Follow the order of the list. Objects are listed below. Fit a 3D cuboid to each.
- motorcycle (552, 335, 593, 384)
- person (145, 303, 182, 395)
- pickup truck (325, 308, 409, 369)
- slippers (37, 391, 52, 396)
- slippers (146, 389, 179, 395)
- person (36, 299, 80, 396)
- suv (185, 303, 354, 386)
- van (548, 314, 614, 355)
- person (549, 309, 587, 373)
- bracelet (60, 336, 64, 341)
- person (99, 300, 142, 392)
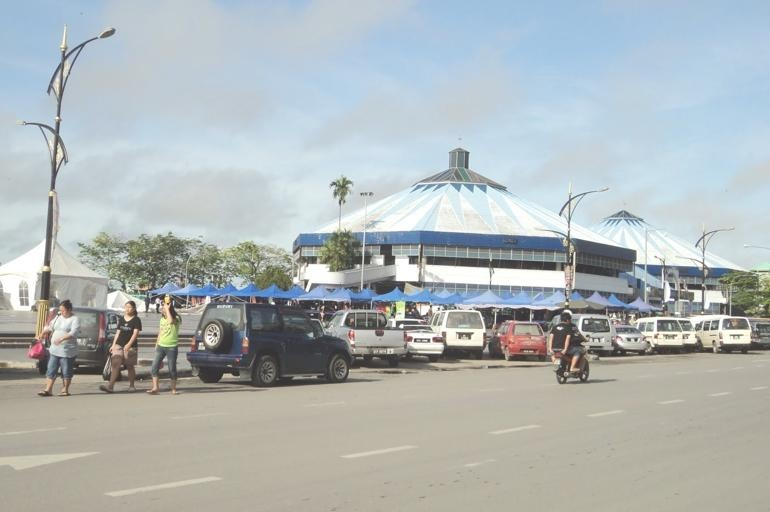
[{"bbox_3d":[5.458,3.287,24.723,0.727,1.075,1.592,2,2,41],"label":"motorcycle"},{"bbox_3d":[-5.620,2.219,20.539,0.865,2.464,0.962,0,-2,19],"label":"person"},{"bbox_3d":[-0.771,2.786,28.728,1.581,1.548,3.784,1,-3,-29],"label":"pickup truck"},{"bbox_3d":[-7.962,3.189,18.985,0.299,0.156,0.391,5,-10,-22],"label":"slippers"},{"bbox_3d":[-5.506,3.352,20.121,0.763,0.119,0.594,4,-10,-19],"label":"slippers"},{"bbox_3d":[-7.696,2.114,19.337,0.904,2.330,0.928,-4,-4,-28],"label":"person"},{"bbox_3d":[-3.326,2.408,22.870,2.166,1.705,3.931,-2,-1,43],"label":"suv"},{"bbox_3d":[9.980,4.075,39.871,2.674,2.436,5.930,1,-3,-9],"label":"van"},{"bbox_3d":[5.505,2.565,24.354,0.648,1.541,2.024,-1,-3,31],"label":"person"},{"bbox_3d":[-7.596,1.932,19.044,0.044,0.060,0.169,32,-25,-18],"label":"bracelet"},{"bbox_3d":[-6.535,2.270,20.385,0.928,2.474,1.014,-1,-3,-6],"label":"person"}]
